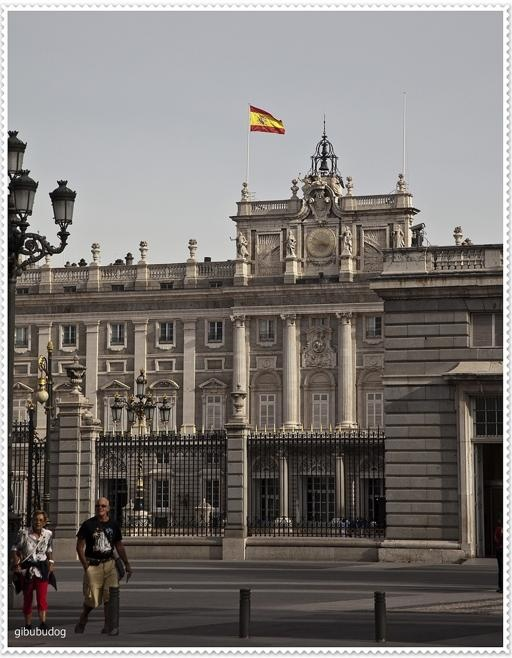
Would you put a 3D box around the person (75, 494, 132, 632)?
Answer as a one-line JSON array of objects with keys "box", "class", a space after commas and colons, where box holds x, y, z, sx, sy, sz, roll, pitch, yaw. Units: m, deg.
[{"box": [-2.156, 3.365, 26.741, 0.738, 1.934, 0.766, -1, -8, 12], "class": "person"}]

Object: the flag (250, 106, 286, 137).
[{"box": [0.497, -8.794, 79.332, 1.258, 1.010, 1.240, 0, -8, 2], "class": "flag"}]

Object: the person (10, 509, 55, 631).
[{"box": [-3.197, 3.530, 27.543, 0.602, 1.716, 0.765, 2, -8, -8], "class": "person"}]
